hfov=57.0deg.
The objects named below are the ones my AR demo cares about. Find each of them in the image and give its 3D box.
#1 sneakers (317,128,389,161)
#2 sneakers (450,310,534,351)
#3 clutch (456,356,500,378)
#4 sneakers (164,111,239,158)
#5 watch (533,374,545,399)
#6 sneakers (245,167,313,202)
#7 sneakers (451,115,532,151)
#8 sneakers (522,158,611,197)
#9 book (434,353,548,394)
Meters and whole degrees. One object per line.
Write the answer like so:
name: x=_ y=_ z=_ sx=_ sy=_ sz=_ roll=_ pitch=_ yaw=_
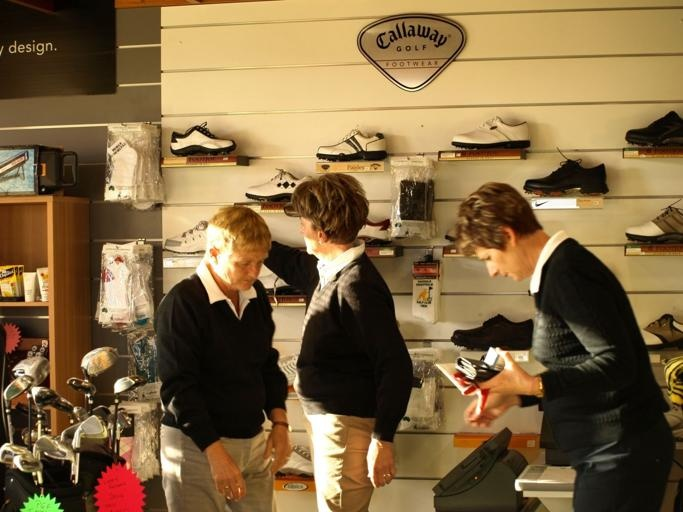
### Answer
sneakers: x=0.064 y=-0.706 z=4.010 sx=0.459 sy=0.201 sz=0.168 roll=2 pitch=15 yaw=19
sneakers: x=0.939 y=0.477 z=3.974 sx=0.544 sy=0.210 sz=0.197 roll=2 pitch=-5 yaw=1
clutch: x=0.502 y=0.416 z=2.395 sx=0.085 sy=0.035 sz=0.108 roll=0 pitch=10 yaw=-39
sneakers: x=-0.908 y=-0.761 z=4.056 sx=0.491 sy=0.246 sz=0.178 roll=-1 pitch=4 yaw=2
watch: x=0.720 y=0.474 z=2.282 sx=0.029 sy=0.077 sz=0.059 roll=-1 pitch=-4 yaw=17
sneakers: x=-0.389 y=-0.449 z=4.041 sx=0.453 sy=0.209 sz=0.169 roll=2 pitch=1 yaw=14
sneakers: x=0.925 y=-0.746 z=3.891 sx=0.510 sy=0.222 sz=0.189 roll=3 pitch=0 yaw=2
sneakers: x=1.379 y=-0.491 z=3.887 sx=0.491 sy=0.213 sz=0.178 roll=0 pitch=11 yaw=18
book: x=0.510 y=0.445 z=2.392 sx=0.185 sy=0.062 sz=0.240 roll=-19 pitch=-26 yaw=17
